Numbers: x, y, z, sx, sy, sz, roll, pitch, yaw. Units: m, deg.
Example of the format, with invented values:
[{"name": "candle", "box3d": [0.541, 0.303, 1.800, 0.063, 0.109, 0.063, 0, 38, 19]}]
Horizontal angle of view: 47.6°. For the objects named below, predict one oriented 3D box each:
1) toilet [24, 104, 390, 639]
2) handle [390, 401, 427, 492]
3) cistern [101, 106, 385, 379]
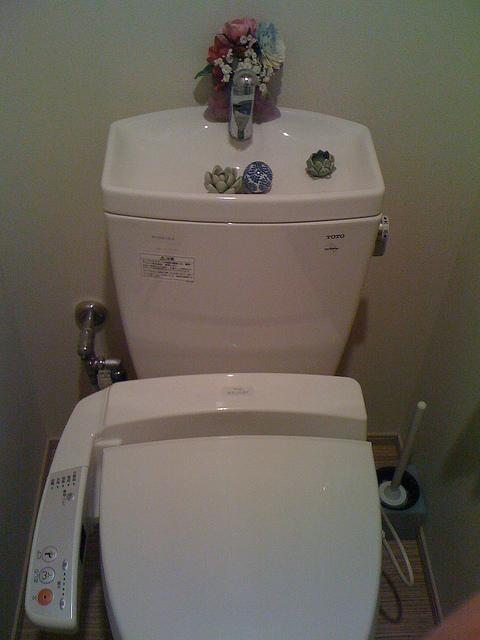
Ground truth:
[{"name": "toilet", "box3d": [-0.013, 0.034, 0.904, 0.463, 0.552, 0.835, 0, 64, -1]}, {"name": "handle", "box3d": [0.289, 0.217, 0.926, 0.022, 0.185, 0.022, 10, 12, -43]}, {"name": "cistern", "box3d": [0.016, -0.097, 0.977, 0.444, 0.630, 0.338, 0, 41, -2]}]
